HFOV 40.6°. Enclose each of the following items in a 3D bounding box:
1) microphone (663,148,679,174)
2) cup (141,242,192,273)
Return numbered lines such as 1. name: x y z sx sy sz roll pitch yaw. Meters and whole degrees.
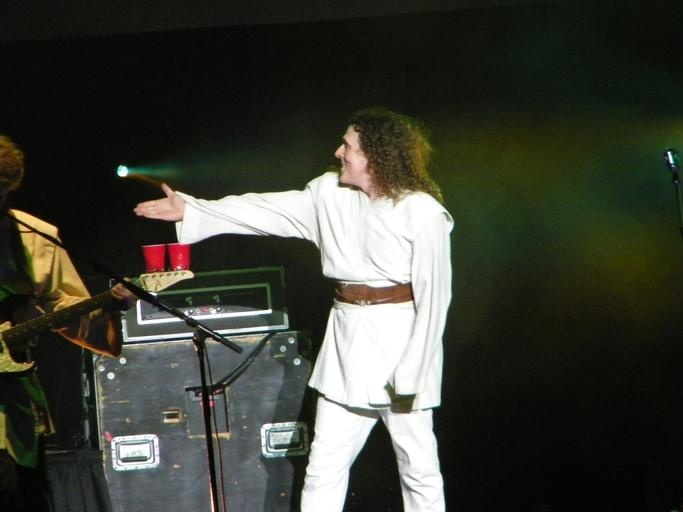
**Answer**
1. microphone: 2.141 -0.623 6.021 0.082 0.163 0.123 -1 -4 20
2. cup: -1.079 0.013 5.733 0.198 0.175 0.227 0 -7 -16
